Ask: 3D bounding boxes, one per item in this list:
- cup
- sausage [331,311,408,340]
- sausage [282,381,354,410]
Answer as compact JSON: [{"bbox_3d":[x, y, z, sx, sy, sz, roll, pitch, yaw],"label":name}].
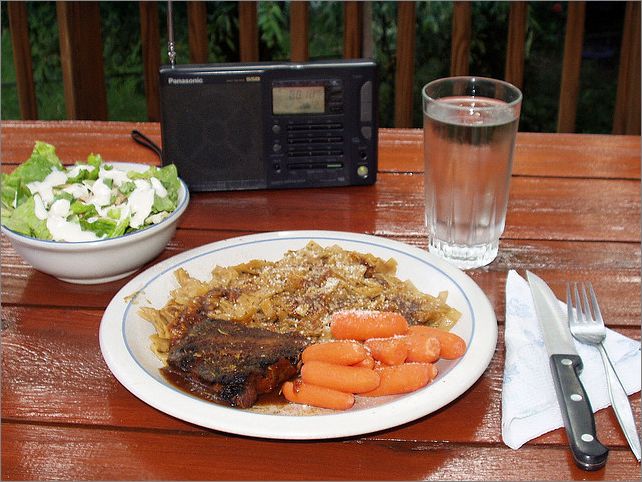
[{"bbox_3d":[0.348,-0.138,1.499,0.200,0.539,0.216,2,17,0],"label":"cup"},{"bbox_3d":[0.095,0.176,1.233,0.140,0.060,0.068,-3,10,11],"label":"sausage"},{"bbox_3d":[-0.006,0.289,1.133,0.141,0.053,0.053,9,-5,-6],"label":"sausage"}]
